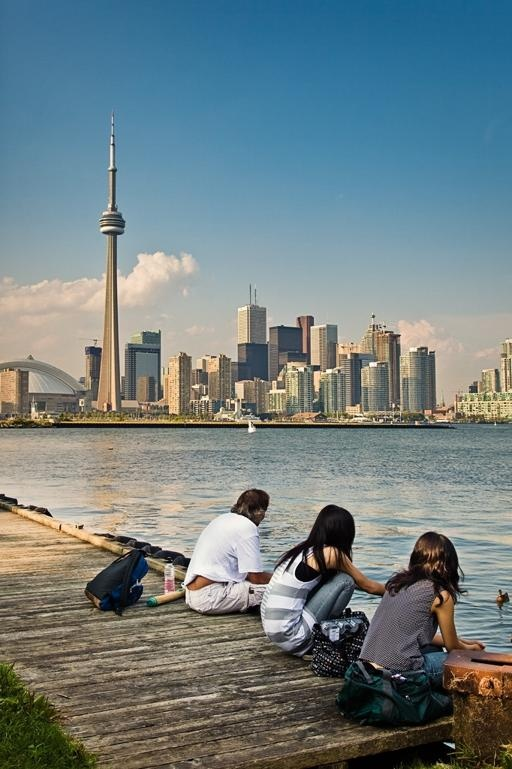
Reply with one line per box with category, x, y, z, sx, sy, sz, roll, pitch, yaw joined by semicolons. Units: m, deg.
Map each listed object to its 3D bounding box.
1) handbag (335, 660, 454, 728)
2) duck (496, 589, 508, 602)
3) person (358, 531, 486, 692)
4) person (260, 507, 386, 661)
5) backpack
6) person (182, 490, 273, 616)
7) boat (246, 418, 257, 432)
handbag;1.054;2.209;8.065;0.727;0.407;1.025;1;0;34
duck;3.653;3.106;16.117;0.132;0.178;0.245;4;-3;14
person;1.283;1.845;8.119;0.972;1.509;0.534;-8;16;-37
person;0.649;1.660;9.188;1.262;1.297;0.708;-6;7;-34
backpack;-1.401;1.943;11.010;0.405;0.694;0.569;21;-15;-33
person;-0.213;1.581;10.252;0.620;1.211;0.980;2;-4;-28
boat;-1.066;9.302;251.754;1.594;3.079;3.013;-1;2;-9
